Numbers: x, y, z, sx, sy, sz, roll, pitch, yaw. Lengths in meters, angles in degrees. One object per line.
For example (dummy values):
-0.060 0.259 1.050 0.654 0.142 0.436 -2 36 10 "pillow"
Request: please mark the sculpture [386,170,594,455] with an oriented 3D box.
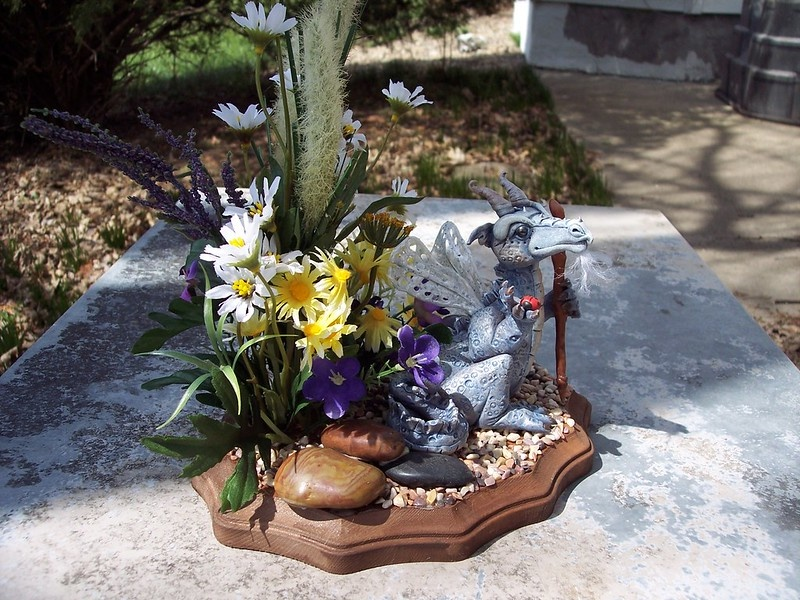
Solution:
0.321 -0.067 2.728 0.861 1.124 0.839 -3 14 7 "sculpture"
